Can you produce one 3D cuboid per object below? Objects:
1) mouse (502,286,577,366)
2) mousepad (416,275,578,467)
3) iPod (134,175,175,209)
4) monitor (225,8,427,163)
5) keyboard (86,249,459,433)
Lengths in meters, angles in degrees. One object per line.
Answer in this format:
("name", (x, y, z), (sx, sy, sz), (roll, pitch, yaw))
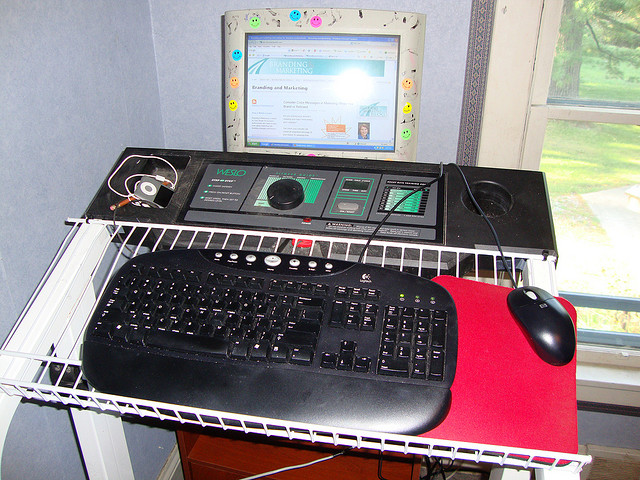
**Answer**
("mouse", (0.359, 0.123, 0.779), (0.084, 0.044, 0.141), (-15, 45, 1))
("mousepad", (0.298, 0.188, 0.744), (0.275, 0.065, 0.264), (4, 58, 8))
("iPod", (-0.353, -0.104, 1.025), (0.070, 0.056, 0.048), (6, 21, 11))
("monitor", (0.003, -0.376, 1.160), (0.473, 0.333, 0.074), (4, 20, 6))
("keyboard", (-0.079, 0.142, 0.790), (0.594, 0.164, 0.224), (5, 21, 9))
